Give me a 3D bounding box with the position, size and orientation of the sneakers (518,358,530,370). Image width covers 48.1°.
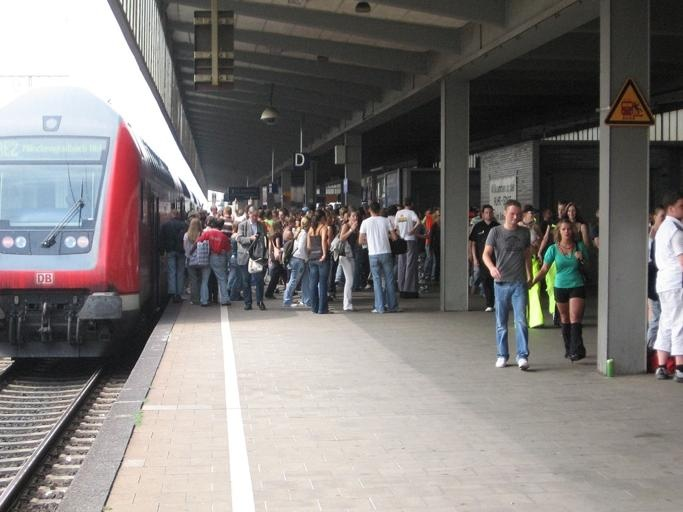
[{"bbox_3d":[2.476,1.450,10.337,0.143,0.161,0.231,2,5,15],"label":"sneakers"}]

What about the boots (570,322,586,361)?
[{"bbox_3d":[3.322,1.208,10.690,0.246,0.572,0.202,-1,5,-23],"label":"boots"}]

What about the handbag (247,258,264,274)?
[{"bbox_3d":[-1.799,0.240,16.311,0.283,0.304,0.282,-3,-13,8],"label":"handbag"}]

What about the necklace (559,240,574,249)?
[{"bbox_3d":[3.193,-0.153,10.830,0.207,0.132,0.043,2,4,14],"label":"necklace"}]

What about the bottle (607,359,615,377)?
[{"bbox_3d":[3.535,1.460,9.978,0.132,0.223,0.091,0,4,-2],"label":"bottle"}]

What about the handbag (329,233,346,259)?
[{"bbox_3d":[-0.062,-0.189,16.142,0.346,0.678,0.564,5,-26,-8],"label":"handbag"}]

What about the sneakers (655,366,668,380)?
[{"bbox_3d":[4.148,1.519,9.877,0.103,0.117,0.270,-2,-11,24],"label":"sneakers"}]

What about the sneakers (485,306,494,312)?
[{"bbox_3d":[3.071,1.100,15.793,0.082,0.074,0.173,-4,-8,42],"label":"sneakers"}]

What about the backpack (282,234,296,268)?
[{"bbox_3d":[-1.129,-0.086,16.621,0.232,0.581,0.764,0,5,-5],"label":"backpack"}]

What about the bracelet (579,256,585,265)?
[{"bbox_3d":[3.416,0.066,10.798,0.073,0.110,0.040,-4,8,7],"label":"bracelet"}]

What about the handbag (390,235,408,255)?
[{"bbox_3d":[1.249,-0.192,16.079,0.303,0.418,0.566,0,1,20],"label":"handbag"}]

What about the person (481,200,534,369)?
[{"bbox_3d":[2.289,0.379,10.484,0.633,2.269,0.709,1,4,14],"label":"person"}]

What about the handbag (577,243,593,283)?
[{"bbox_3d":[3.475,0.101,10.874,0.176,0.528,0.362,-1,4,7],"label":"handbag"}]
